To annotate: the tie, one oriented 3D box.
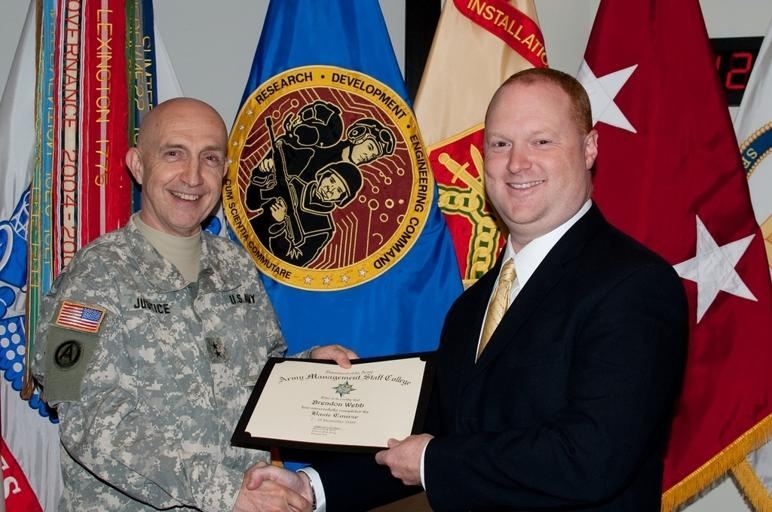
[{"bbox_3d":[0.507,0.223,3.823,0.099,0.637,0.068,15,-10,-9],"label":"tie"}]
